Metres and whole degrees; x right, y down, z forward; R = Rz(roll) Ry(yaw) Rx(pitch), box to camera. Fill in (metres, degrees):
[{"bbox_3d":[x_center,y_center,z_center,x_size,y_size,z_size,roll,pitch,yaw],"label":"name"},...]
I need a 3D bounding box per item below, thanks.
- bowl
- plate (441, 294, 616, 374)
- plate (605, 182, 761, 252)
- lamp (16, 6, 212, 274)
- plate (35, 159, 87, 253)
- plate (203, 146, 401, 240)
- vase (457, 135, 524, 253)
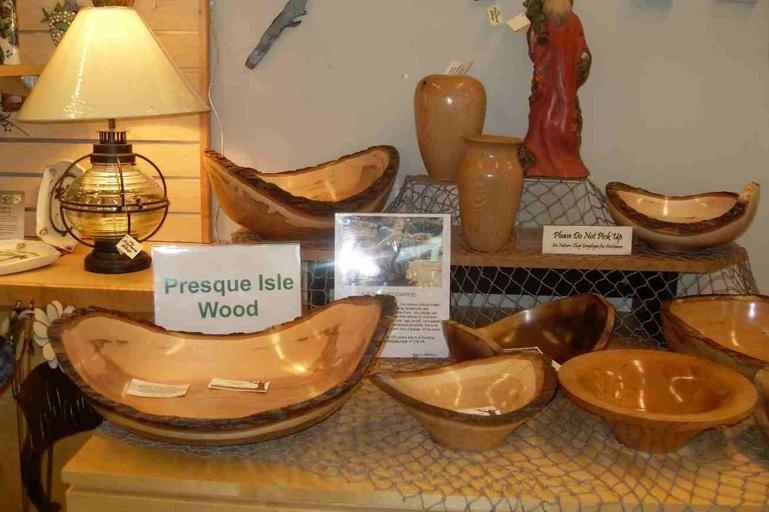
[{"bbox_3d":[0.578,0.329,1.338,0.381,0.143,0.386,-4,10,1],"label":"bowl"},{"bbox_3d":[0.416,0.195,1.562,0.261,0.117,0.263,-8,14,32],"label":"plate"},{"bbox_3d":[0.780,-0.105,1.629,0.299,0.166,0.254,2,25,18],"label":"plate"},{"bbox_3d":[-0.720,-0.307,1.664,0.468,0.708,0.264,-5,14,-13],"label":"lamp"},{"bbox_3d":[-0.989,-0.144,1.840,0.166,0.262,0.055,8,5,21],"label":"plate"},{"bbox_3d":[-0.243,-0.172,1.713,0.522,0.230,0.377,0,21,-16],"label":"plate"},{"bbox_3d":[0.272,-0.162,1.592,0.172,0.300,0.173,9,18,30],"label":"vase"}]
